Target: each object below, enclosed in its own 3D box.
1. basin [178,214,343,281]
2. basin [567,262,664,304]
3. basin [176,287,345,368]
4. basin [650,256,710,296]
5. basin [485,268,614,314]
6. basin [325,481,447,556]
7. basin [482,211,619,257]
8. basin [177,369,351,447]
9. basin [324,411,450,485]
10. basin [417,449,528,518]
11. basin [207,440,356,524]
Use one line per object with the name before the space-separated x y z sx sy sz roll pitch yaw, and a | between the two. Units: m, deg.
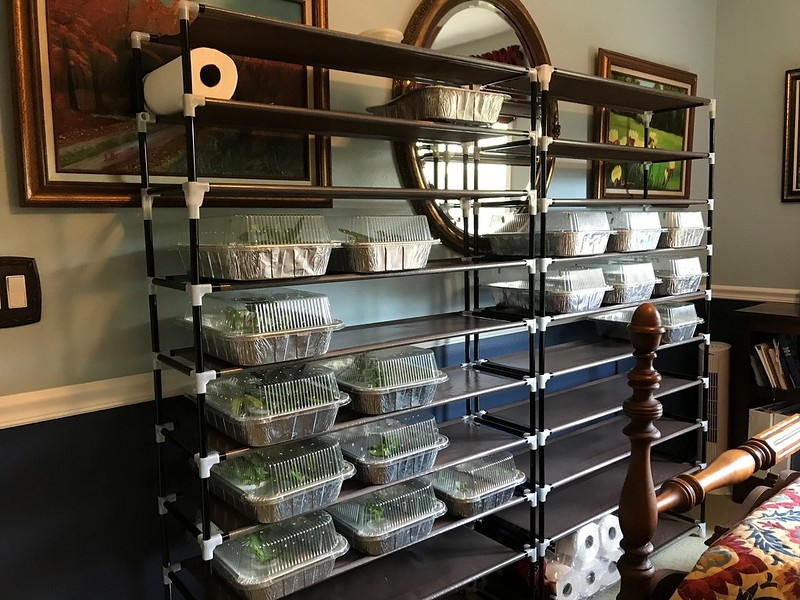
basin | -0.493 -0.184 2.094 0.529 0.222 0.271 -4 8 -12
basin | 1.164 -0.100 3.085 0.296 0.145 0.255 -1 9 -5
basin | -0.506 0.058 2.149 0.316 0.160 0.378 -3 7 -34
basin | 1.514 -0.150 3.348 0.265 0.127 0.208 -7 10 -42
basin | 0.762 -0.050 2.873 0.321 0.116 0.319 -2 6 0
basin | -0.065 0.857 2.476 0.472 0.197 0.416 -4 5 -30
basin | 0.744 -0.331 3.018 0.680 0.199 0.648 -1 6 0
basin | -0.425 0.341 2.095 0.357 0.149 0.303 -7 11 -42
basin | -0.022 0.608 2.463 0.420 0.190 0.452 -13 -4 -1
basin | 0.343 0.771 2.622 0.259 0.137 0.286 -13 10 -29
basin | -0.373 0.603 2.149 0.351 0.160 0.337 -1 8 0
